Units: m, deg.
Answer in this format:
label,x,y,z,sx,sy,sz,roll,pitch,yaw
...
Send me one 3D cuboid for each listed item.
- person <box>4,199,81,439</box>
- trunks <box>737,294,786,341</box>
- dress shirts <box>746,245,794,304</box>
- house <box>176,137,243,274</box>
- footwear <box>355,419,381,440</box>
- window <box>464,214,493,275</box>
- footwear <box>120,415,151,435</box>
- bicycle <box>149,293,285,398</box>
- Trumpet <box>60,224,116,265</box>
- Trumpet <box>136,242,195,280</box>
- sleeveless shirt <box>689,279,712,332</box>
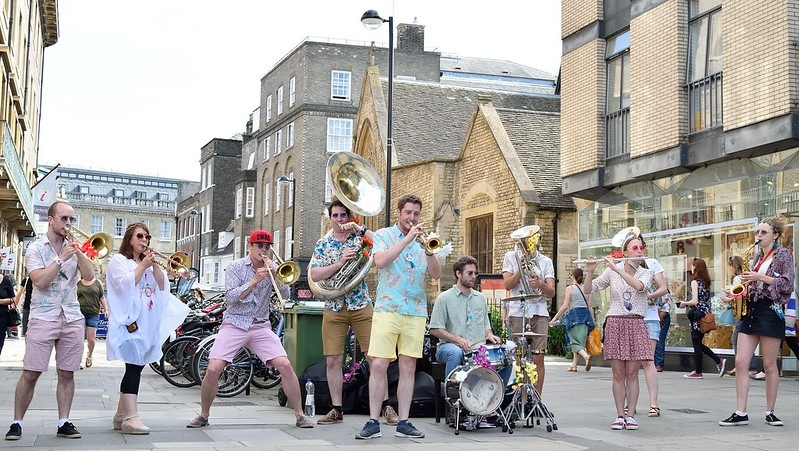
label,x,y,z,sx,sy,sz,roll,pitch,yaw
person,-6.030,1.641,15.865,1.180,4.150,1.351,5,-13,-18
trunks,6.691,1.688,16.891,0.730,0.713,0.517,-18,-37,36
dress shirts,6.861,0.933,16.956,0.782,1.067,1.006,8,-11,-21
house,-14.431,-1.344,71.231,4.665,10.299,12.170,5,-9,-21
footwear,-0.567,3.590,16.032,0.454,0.353,0.256,1,-12,-2
window,2.811,0.617,32.114,0.190,2.394,2.224,8,-12,-27
footwear,-4.733,3.558,16.180,0.627,0.311,0.300,-1,-11,8
bicycle,-3.890,2.871,20.971,3.448,1.707,1.935,1,3,-18
Trumpet,-5.384,0.312,16.019,0.530,0.445,1.016,41,-13,-24
Trumpet,-4.166,0.648,16.476,0.974,0.436,0.519,26,-8,-5
sleeveless shirt,7.426,2.004,22.660,0.554,1.301,0.421,-1,-12,6
